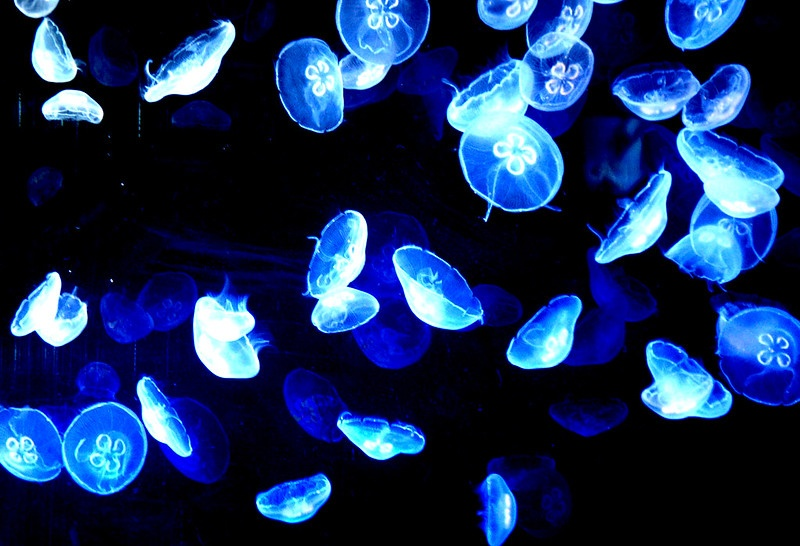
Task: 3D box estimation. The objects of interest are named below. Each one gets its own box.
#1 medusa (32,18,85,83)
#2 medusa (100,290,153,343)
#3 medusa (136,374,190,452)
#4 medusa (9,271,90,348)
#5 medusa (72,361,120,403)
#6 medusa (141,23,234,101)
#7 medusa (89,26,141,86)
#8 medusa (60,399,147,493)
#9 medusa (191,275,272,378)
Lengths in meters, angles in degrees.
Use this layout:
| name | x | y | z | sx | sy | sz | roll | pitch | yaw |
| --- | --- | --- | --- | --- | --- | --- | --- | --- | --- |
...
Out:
| name | x | y | z | sx | sy | sz | roll | pitch | yaw |
| --- | --- | --- | --- | --- | --- | --- | --- | --- | --- |
| medusa | -2.578 | -1.641 | 6.868 | 0.347 | 0.473 | 0.195 | 4 | 8 | -30 |
| medusa | -2.068 | 0.348 | 6.909 | 0.393 | 0.308 | 0.180 | 7 | 27 | 16 |
| medusa | -1.735 | 1.090 | 6.791 | 0.188 | 0.558 | 0.418 | -24 | 34 | -39 |
| medusa | -2.671 | 0.269 | 7.073 | 0.533 | 0.570 | 0.263 | 32 | -3 | -19 |
| medusa | -2.376 | 0.778 | 7.000 | 0.276 | 0.248 | 0.296 | 29 | -15 | -40 |
| medusa | -1.521 | -1.562 | 6.757 | 0.240 | 0.615 | 0.513 | 59 | 9 | 19 |
| medusa | -2.137 | -1.612 | 6.867 | 0.381 | 0.380 | 0.202 | 9 | 28 | 20 |
| medusa | -2.188 | 1.307 | 6.851 | 0.609 | 0.567 | 0.309 | -8 | 27 | -13 |
| medusa | -1.274 | 0.491 | 6.870 | 0.423 | 0.601 | 0.478 | 21 | 34 | 37 |
